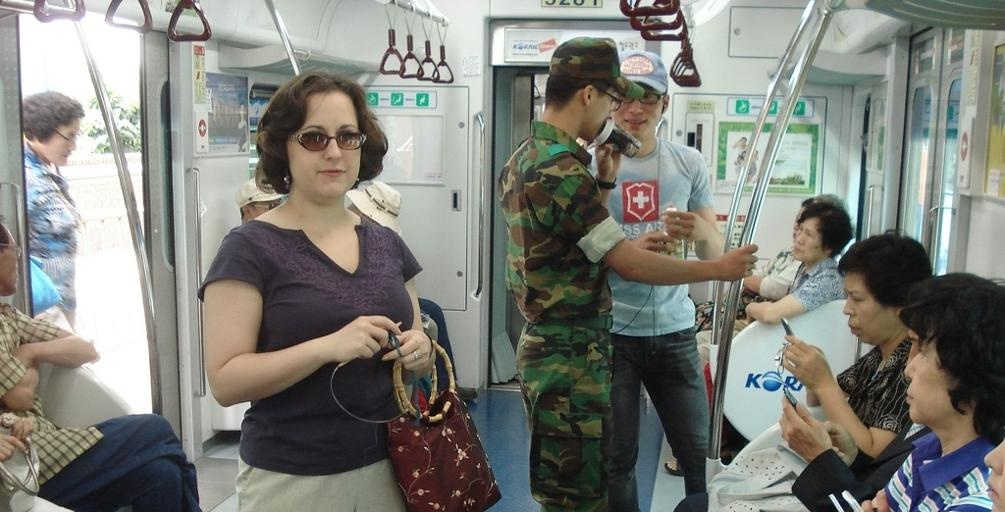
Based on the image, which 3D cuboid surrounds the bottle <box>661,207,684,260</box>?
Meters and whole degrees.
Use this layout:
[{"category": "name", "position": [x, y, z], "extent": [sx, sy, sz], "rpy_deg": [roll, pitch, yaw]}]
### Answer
[{"category": "bottle", "position": [1.132, -0.164, 4.663], "extent": [0.146, 0.112, 0.448], "rpy_deg": [-5, 40, -4]}]

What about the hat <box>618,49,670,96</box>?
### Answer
[{"category": "hat", "position": [0.973, -1.234, 4.769], "extent": [0.338, 0.215, 0.440], "rpy_deg": [17, 3, 9]}]

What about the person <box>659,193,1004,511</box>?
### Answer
[{"category": "person", "position": [1.950, 0.586, 3.623], "extent": [0.901, 1.362, 0.900], "rpy_deg": [3, 9, 17]}]

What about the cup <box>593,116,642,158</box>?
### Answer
[{"category": "cup", "position": [0.697, -0.703, 4.252], "extent": [0.294, 0.168, 0.133], "rpy_deg": [31, 52, -4]}]

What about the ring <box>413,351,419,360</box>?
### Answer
[{"category": "ring", "position": [-0.420, 0.481, 3.400], "extent": [0.035, 0.029, 0.010], "rpy_deg": [-5, -7, -33]}]

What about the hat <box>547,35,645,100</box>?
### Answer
[{"category": "hat", "position": [0.543, -1.162, 4.253], "extent": [0.706, 0.319, 0.419], "rpy_deg": [-3, 17, -34]}]

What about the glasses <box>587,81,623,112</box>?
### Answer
[{"category": "glasses", "position": [0.587, -0.931, 4.100], "extent": [0.165, 0.047, 0.164], "rpy_deg": [38, 10, 23]}]
